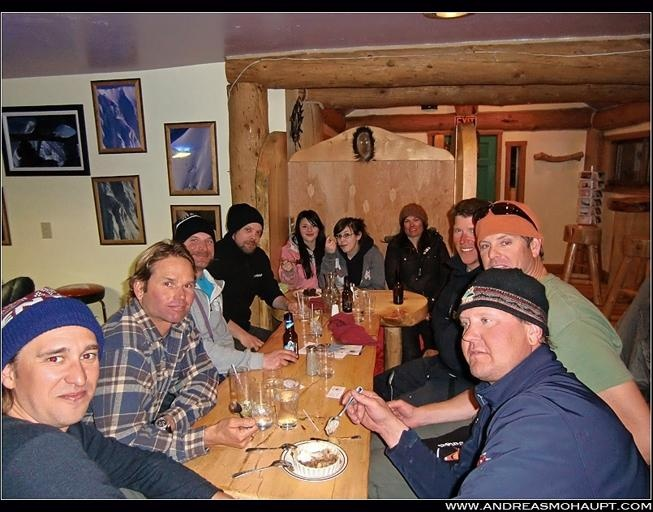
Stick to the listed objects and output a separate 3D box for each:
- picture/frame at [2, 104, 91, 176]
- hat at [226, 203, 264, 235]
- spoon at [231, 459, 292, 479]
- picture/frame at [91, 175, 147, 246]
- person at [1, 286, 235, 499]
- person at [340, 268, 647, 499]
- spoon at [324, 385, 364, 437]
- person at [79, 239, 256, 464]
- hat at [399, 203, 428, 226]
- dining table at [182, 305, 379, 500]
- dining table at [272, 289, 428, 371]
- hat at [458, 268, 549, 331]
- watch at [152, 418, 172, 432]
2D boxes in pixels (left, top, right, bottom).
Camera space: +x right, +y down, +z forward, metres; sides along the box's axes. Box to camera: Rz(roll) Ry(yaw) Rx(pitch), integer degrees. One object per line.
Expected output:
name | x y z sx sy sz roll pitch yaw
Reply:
picture/frame | -3.004 -1.286 5.266 0.770 0.659 0.052 3 21 4
hat | -0.717 -0.327 4.303 0.312 0.275 0.236 -2 -3 -11
spoon | -0.271 0.898 2.060 0.253 0.024 0.074 -4 7 -10
picture/frame | -2.267 -0.493 5.357 0.538 0.742 0.088 -2 8 10
person | -0.786 0.535 2.152 1.100 1.077 0.665 0 5 -10
person | 0.621 0.659 2.326 1.141 1.122 0.877 9 -27 11
spoon | 0.112 0.720 2.425 0.088 0.062 0.424 15 30 21
person | -0.863 0.402 2.706 1.092 1.079 0.782 7 7 18
hat | 0.908 -0.415 5.094 0.239 0.205 0.253 -7 -31 22
dining table | -0.154 0.641 2.056 0.457 0.262 1.056 1 20 3
dining table | 0.418 0.543 4.060 0.861 0.565 0.878 -1 13 -2
hat | 0.750 0.168 2.060 0.287 0.176 0.295 1 -11 32
watch | -0.786 0.797 2.332 0.080 0.050 0.072 14 -20 -35
